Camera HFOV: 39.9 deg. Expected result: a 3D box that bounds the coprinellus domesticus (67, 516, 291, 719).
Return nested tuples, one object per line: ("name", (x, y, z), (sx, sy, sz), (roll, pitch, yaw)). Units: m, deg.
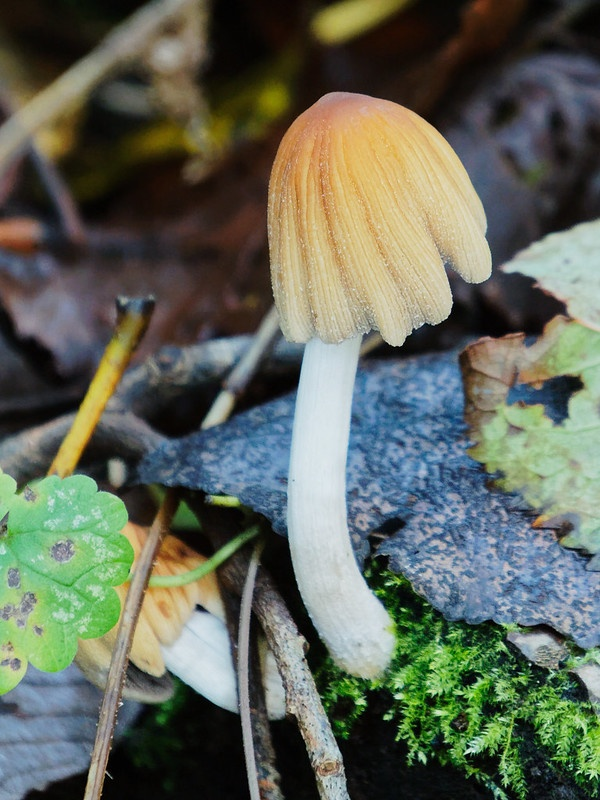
("coprinellus domesticus", (-0.293, 0.559, 1.941), (0.484, 0.202, 0.309), (38, 67, 15))
